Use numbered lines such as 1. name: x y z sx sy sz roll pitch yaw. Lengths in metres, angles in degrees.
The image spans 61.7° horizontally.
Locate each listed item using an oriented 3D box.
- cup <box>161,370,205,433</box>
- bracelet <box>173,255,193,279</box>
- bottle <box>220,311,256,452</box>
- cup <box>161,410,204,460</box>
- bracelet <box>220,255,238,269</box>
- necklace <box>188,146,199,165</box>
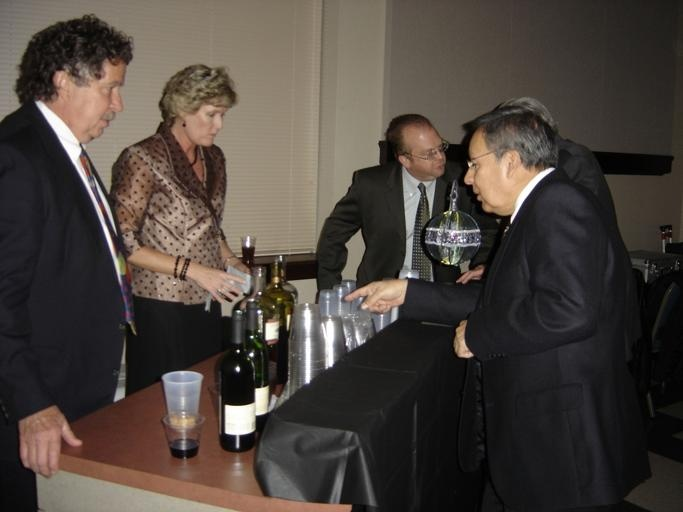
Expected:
1. cup: -0.460 0.424 1.635 0.121 0.142 0.130 -1 -7 0
2. bracelet: -0.655 0.047 2.336 0.064 0.099 0.039 2 0 4
3. bottle: -0.283 0.341 1.535 0.096 0.408 0.132 -2 4 -12
4. cup: -0.434 0.488 1.560 0.099 0.089 0.110 0 -5 -4
5. bracelet: -0.502 0.013 2.568 0.072 0.039 0.101 -1 7 0
6. necklace: -0.653 -0.453 2.544 0.046 0.068 0.015 -6 7 -38
